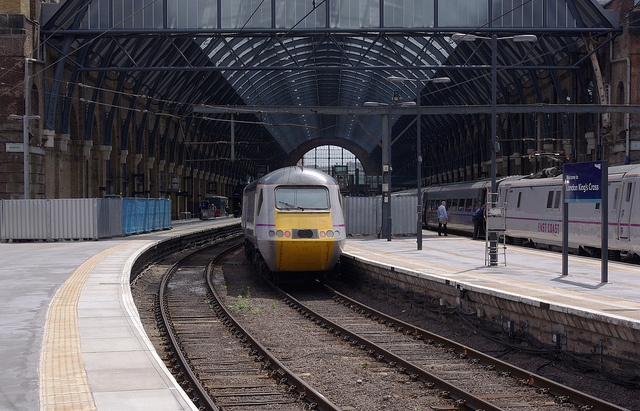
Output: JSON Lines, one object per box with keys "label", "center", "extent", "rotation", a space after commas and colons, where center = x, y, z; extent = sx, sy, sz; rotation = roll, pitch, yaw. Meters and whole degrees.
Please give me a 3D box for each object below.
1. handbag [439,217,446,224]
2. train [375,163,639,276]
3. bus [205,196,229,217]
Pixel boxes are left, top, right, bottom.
{"label": "handbag", "center": [8.409, 1.033, 45.403], "extent": [0.587, 0.373, 0.585], "rotation": [-13, 5, 11]}
{"label": "train", "center": [12.692, 0.241, 42.765], "extent": [3.228, 5.833, 28.308], "rotation": [0, 0, -13]}
{"label": "bus", "center": [-14.406, 0.099, 91.535], "extent": [2.586, 2.820, 9.557], "rotation": [-1, -2, -2]}
